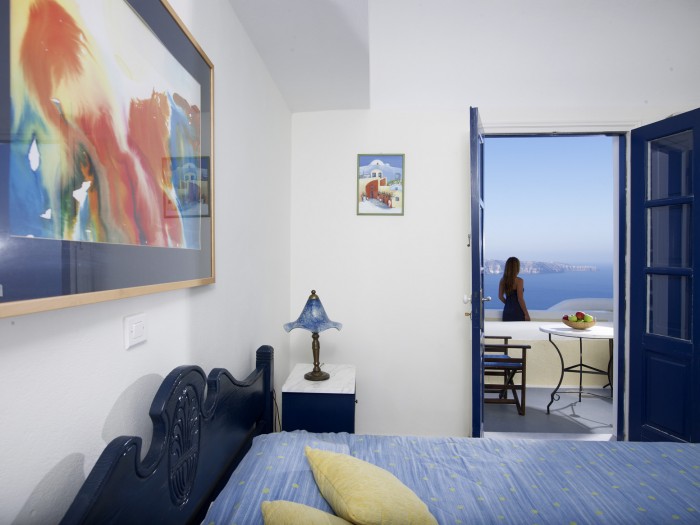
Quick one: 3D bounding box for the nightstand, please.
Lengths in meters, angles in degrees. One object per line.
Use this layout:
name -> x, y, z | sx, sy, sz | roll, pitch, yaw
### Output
nightstand -> -0.154, 0.793, 3.026 | 0.279, 0.390, 0.527 | -1, -1, 6

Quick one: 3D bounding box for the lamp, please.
lamp -> -0.212, 0.436, 3.095 | 0.307, 0.526, 0.337 | -3, -4, 9

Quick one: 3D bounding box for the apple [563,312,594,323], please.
apple -> 1.989, 0.485, 4.450 | 0.137, 0.069, 0.155 | 2, -6, 9
